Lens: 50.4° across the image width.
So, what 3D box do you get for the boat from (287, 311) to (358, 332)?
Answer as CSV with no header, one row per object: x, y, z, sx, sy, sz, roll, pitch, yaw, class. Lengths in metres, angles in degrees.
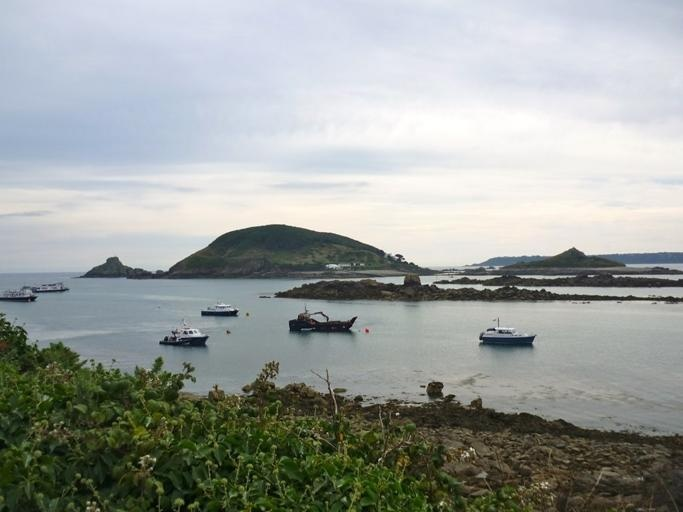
-2.734,7.275,77.945,6.014,1.900,4.079,-1,1,-6,boat

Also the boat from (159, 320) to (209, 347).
-14.822,7.398,65.732,5.735,2.608,2.072,-1,-3,23,boat

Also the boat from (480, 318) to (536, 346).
14.425,6.738,63.494,5.613,2.716,1.972,0,6,21,boat

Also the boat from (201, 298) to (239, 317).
-16.758,7.450,98.360,5.066,1.384,4.942,-1,1,-4,boat
